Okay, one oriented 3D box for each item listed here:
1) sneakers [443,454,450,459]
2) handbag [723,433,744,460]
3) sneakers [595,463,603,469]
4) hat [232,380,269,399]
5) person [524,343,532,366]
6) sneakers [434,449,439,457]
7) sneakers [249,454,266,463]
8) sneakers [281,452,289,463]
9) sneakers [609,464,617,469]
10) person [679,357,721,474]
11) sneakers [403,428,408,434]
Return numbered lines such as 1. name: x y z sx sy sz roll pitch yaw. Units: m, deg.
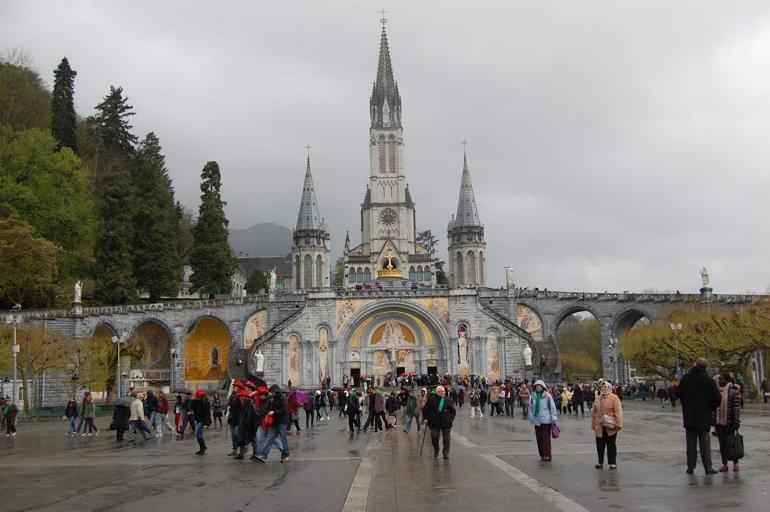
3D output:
1. sneakers: 2.382 7.910 41.224 0.166 0.182 0.179 -9 -14 39
2. handbag: 12.745 6.940 38.107 0.611 1.050 0.291 -4 -12 10
3. sneakers: 8.010 7.892 39.189 0.110 0.126 0.303 -7 -22 24
4. hat: -5.545 5.391 42.458 1.184 0.449 0.836 0 -6 14
5. person: 11.057 7.632 81.159 0.610 1.753 0.755 -3 -12 7
6. sneakers: 2.007 7.812 41.569 0.171 0.263 0.426 -2 -12 0
7. sneakers: -5.119 8.029 41.553 0.298 0.237 0.675 -6 2 -11
8. sneakers: -4.039 7.987 41.421 0.260 0.290 0.692 0 -17 0
9. sneakers: 8.502 7.873 39.067 0.106 0.118 0.285 -8 -24 26
10. person: 11.575 5.869 38.465 1.414 4.220 1.189 -5 -12 14
11. sneakers: 0.930 8.303 49.709 0.210 0.127 0.302 5 2 -13
